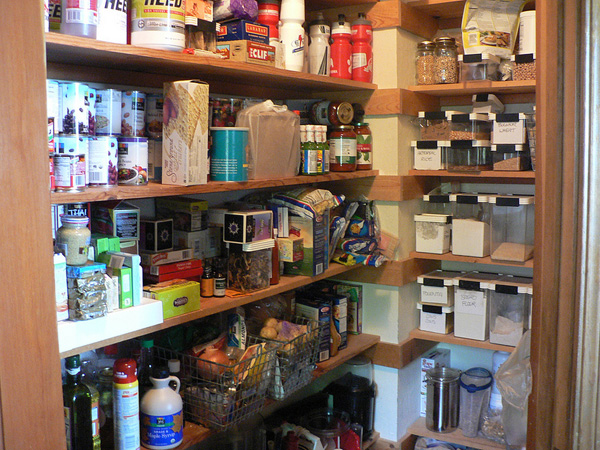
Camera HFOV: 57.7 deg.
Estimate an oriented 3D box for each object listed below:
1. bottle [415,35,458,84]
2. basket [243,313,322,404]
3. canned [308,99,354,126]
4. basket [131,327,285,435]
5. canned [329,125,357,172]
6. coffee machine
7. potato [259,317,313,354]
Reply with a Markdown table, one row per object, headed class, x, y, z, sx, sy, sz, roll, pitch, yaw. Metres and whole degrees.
| class | x | y | z | sx | sy | sz | roll | pitch | yaw |
| --- | --- | --- | --- | --- | --- | --- | --- | --- | --- |
| bottle | 0.648 | -0.778 | 2.588 | 0.210 | 0.193 | 0.221 | 0 | -1 | 1 |
| basket | -0.083 | 0.530 | 2.067 | 0.275 | 0.156 | 0.177 | 12 | -35 | -43 |
| canned | 0.152 | -0.514 | 2.513 | 0.226 | 0.132 | 0.148 | 7 | 13 | 37 |
| basket | -0.270 | 0.500 | 1.879 | 0.287 | 0.213 | 0.373 | 4 | 7 | 36 |
| canned | 0.195 | -0.352 | 2.494 | 0.147 | 0.199 | 0.148 | 5 | 8 | 31 |
| coffee machine | 0.231 | 0.889 | 2.737 | 0.300 | 0.345 | 0.283 | -2 | -7 | 21 |
| potato | -0.057 | 0.427 | 2.106 | 0.123 | 0.043 | 0.121 | 9 | 9 | 23 |
